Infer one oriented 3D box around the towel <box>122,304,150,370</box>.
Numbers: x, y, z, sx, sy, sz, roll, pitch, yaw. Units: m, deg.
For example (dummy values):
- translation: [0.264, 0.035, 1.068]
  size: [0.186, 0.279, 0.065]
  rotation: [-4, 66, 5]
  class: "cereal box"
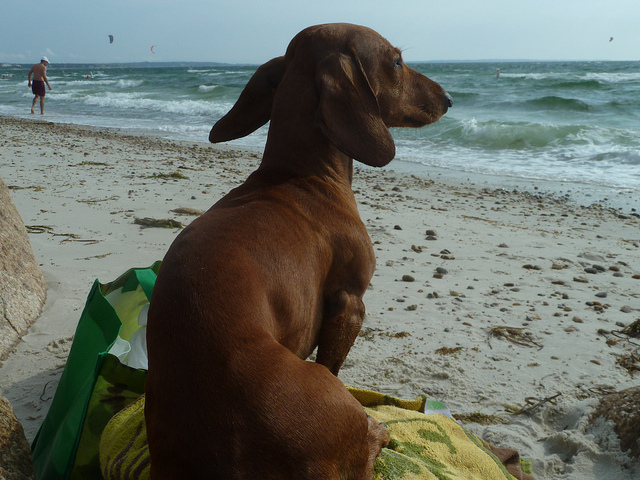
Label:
- translation: [-1.252, 0.655, 3.809]
  size: [0.135, 0.372, 0.702]
  rotation: [-1, 19, -16]
  class: "towel"
